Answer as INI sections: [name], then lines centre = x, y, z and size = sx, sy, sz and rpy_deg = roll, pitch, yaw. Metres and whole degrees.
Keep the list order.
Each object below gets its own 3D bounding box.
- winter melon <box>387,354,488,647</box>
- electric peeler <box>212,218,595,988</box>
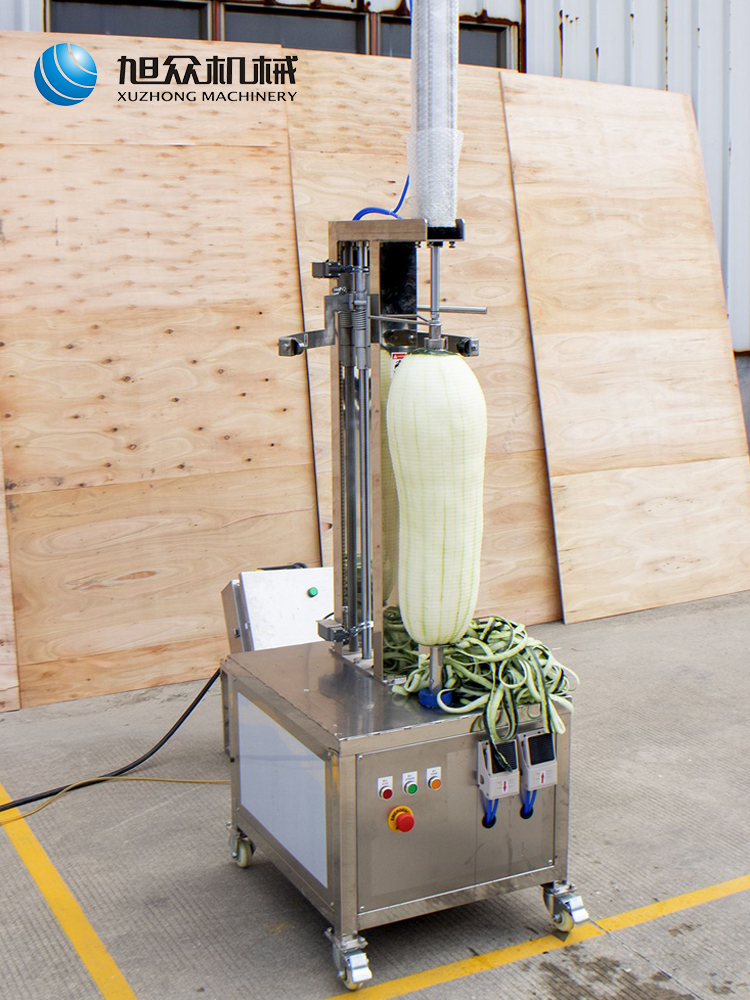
[winter melon]
centre = 0.120, 0.008, 1.796
size = 0.178, 0.573, 0.086
rpy_deg = -1, 9, 1
[electric peeler]
centre = 0.065, 0.179, 2.025
size = 0.594, 1.554, 0.647
rpy_deg = -5, 10, -26
